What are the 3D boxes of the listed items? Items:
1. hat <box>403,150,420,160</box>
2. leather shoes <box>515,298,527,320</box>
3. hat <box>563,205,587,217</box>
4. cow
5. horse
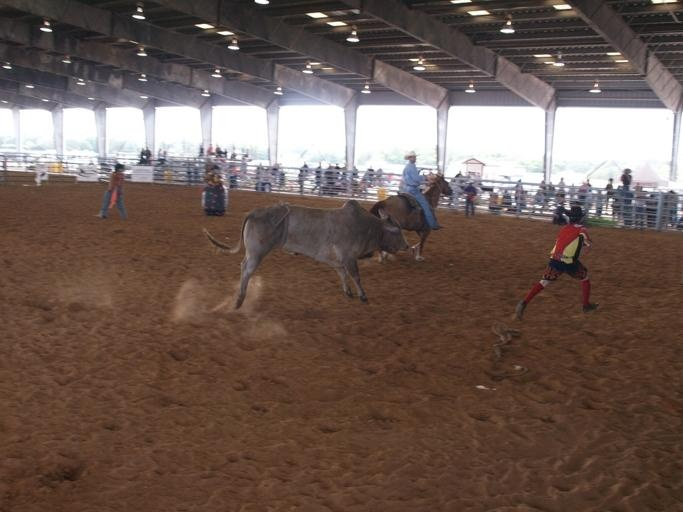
[{"bbox_3d":[1.429,-2.050,11.239,0.226,0.194,0.401,4,9,2],"label":"hat"},{"bbox_3d":[2.472,0.743,7.672,0.108,0.273,0.200,31,1,15],"label":"leather shoes"},{"bbox_3d":[3.217,-0.608,7.547,0.257,0.145,0.209,3,9,0],"label":"hat"},{"bbox_3d":[-0.451,-0.054,8.273,3.407,1.237,0.651,-3,4,-27],"label":"cow"},{"bbox_3d":[1.454,-0.831,11.586,0.825,1.550,2.948,7,14,40],"label":"horse"}]
